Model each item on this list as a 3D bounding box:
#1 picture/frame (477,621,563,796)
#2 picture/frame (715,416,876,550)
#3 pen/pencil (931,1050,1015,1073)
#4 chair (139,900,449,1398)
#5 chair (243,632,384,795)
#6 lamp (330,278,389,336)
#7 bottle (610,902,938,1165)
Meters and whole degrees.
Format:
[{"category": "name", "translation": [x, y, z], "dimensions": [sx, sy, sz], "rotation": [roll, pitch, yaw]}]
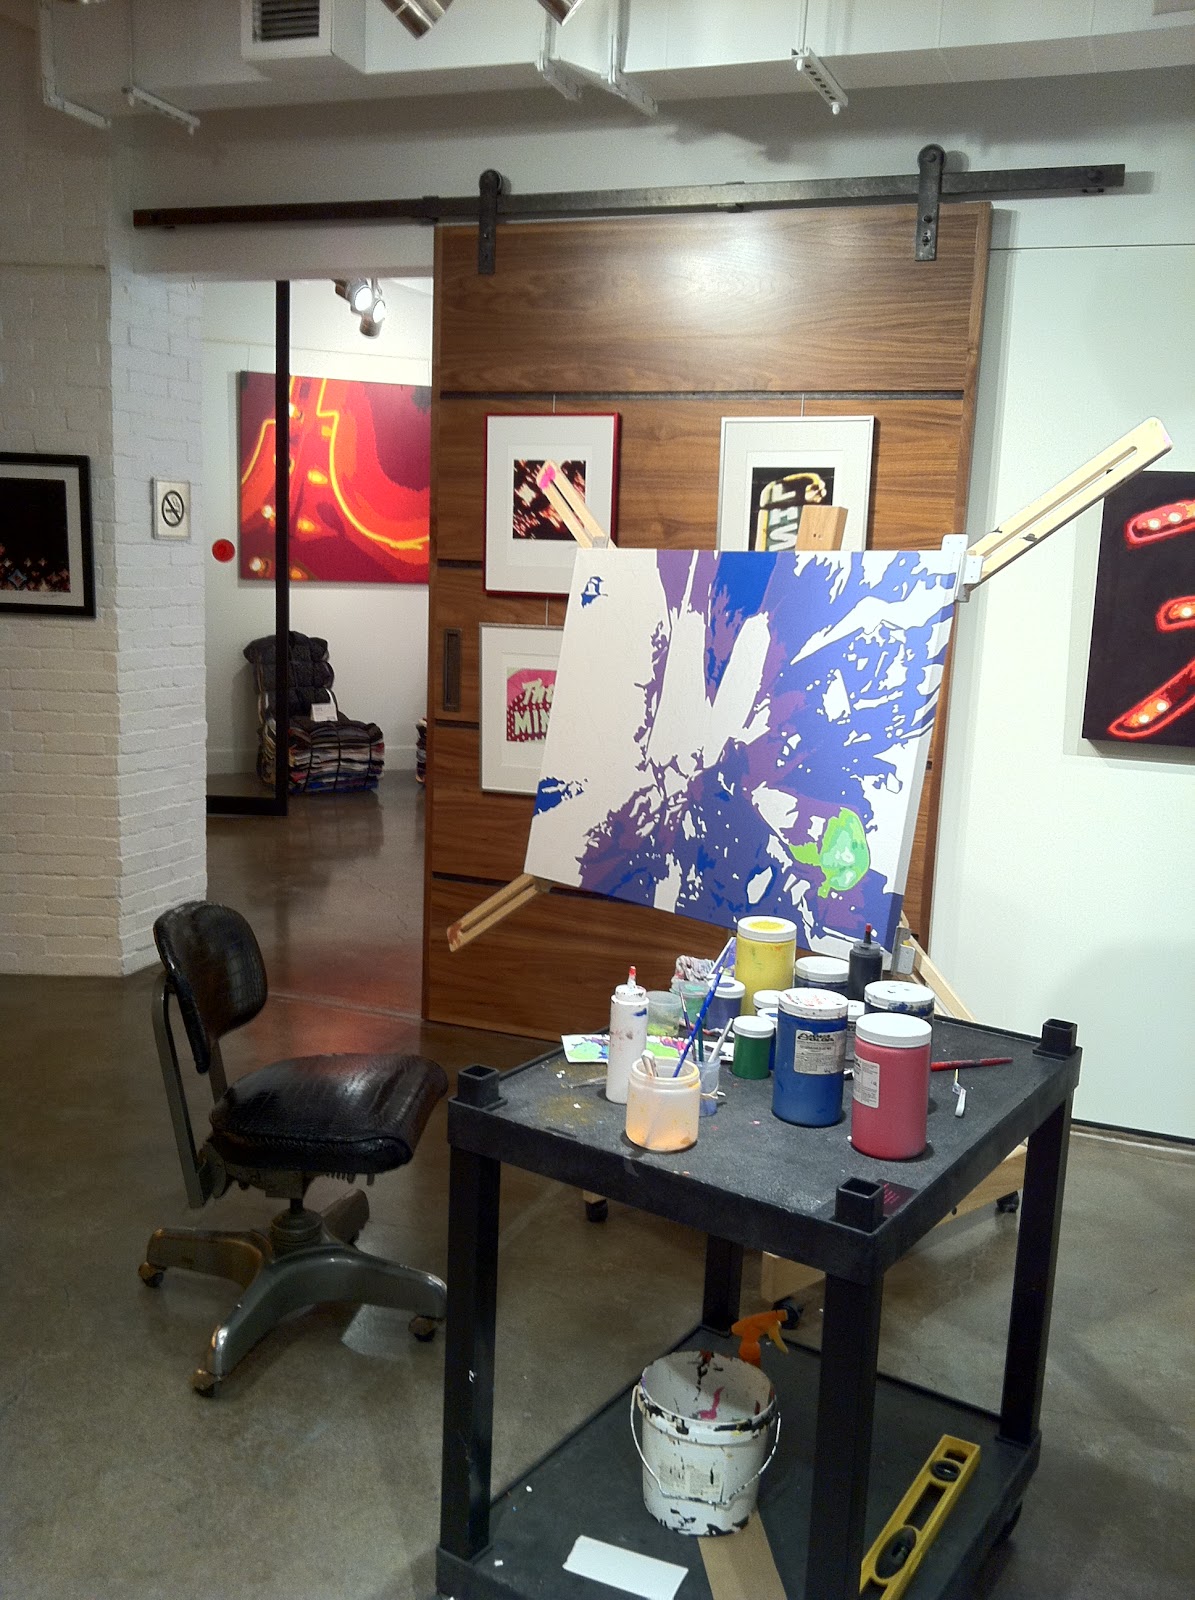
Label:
[{"category": "picture/frame", "translation": [-0.252, -0.275, 3.811], "dimensions": [0.280, 0.535, 0.070], "rotation": [6, 7, 32]}, {"category": "picture/frame", "translation": [0.542, -0.879, 3.358], "dimensions": [0.422, 0.344, 0.090], "rotation": [6, 8, 32]}, {"category": "pen/pencil", "translation": [0.501, 0.348, 1.622], "dimensions": [0.131, 0.014, 0.015], "rotation": [-2, 56, -19]}, {"category": "chair", "translation": [-0.617, 0.621, 2.564], "dimensions": [0.745, 0.924, 0.803], "rotation": [2, 13, 3]}, {"category": "chair", "translation": [-2.027, -0.595, 8.506], "dimensions": [0.781, 1.221, 1.139], "rotation": [-3, 8, -27]}, {"category": "lamp", "translation": [-1.303, -2.769, 6.660], "dimensions": [0.230, 0.292, 0.785], "rotation": [1, 6, -14]}, {"category": "bottle", "translation": [0.280, 0.261, 1.376], "dimensions": [0.139, 0.165, 0.422], "rotation": [6, 6, 24]}]
